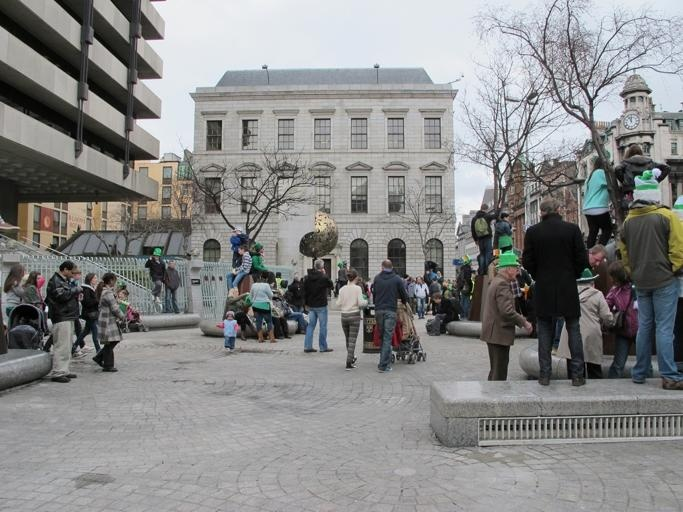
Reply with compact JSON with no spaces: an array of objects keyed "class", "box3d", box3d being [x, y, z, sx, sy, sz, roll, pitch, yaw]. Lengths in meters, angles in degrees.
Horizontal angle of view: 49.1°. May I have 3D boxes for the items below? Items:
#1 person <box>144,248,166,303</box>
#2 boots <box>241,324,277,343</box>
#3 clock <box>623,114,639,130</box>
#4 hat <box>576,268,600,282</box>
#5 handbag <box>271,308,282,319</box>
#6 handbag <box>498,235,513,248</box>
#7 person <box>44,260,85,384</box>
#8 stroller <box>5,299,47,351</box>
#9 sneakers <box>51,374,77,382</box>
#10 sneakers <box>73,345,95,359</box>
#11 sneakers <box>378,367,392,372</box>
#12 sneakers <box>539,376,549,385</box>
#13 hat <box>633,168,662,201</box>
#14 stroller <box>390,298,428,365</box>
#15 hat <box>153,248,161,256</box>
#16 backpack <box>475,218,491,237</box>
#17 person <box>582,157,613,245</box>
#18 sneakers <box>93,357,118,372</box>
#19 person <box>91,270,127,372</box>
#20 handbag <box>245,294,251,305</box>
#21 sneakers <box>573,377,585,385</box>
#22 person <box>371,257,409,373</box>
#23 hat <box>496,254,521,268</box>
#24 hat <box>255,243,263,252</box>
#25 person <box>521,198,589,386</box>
[{"class":"person","box3d":[-6.030,0.639,24.320,0.637,1.919,1.319,0,5,-14]},{"class":"boots","box3d":[-2.281,2.035,20.120,0.697,0.292,0.540,-1,-8,18]},{"class":"clock","box3d":[27.657,-12.810,71.249,0.103,1.400,1.338,-5,-4,-22]},{"class":"hat","box3d":[3.967,0.295,12.064,0.306,0.121,0.269,-4,2,-40]},{"class":"handbag","box3d":[-1.748,1.535,20.362,0.234,0.261,0.188,5,25,-20]},{"class":"handbag","box3d":[4.223,-0.354,19.209,0.305,0.352,0.618,2,5,9]},{"class":"person","box3d":[-5.053,1.173,13.638,0.594,2.179,0.677,-1,5,-21]},{"class":"stroller","box3d":[-6.050,1.358,14.322,0.648,0.949,0.867,3,-18,-22]},{"class":"sneakers","box3d":[-5.079,2.198,13.651,0.440,0.200,0.139,-3,2,-3]},{"class":"sneakers","box3d":[-5.791,2.158,16.961,0.524,0.236,0.173,0,0,-26]},{"class":"sneakers","box3d":[0.862,2.204,14.733,0.292,0.121,0.094,0,-2,-30]},{"class":"sneakers","box3d":[2.916,1.765,10.728,0.161,0.107,0.201,2,5,11]},{"class":"hat","box3d":[4.455,-1.021,10.885,0.407,0.440,0.352,-13,2,6]},{"class":"stroller","box3d":[1.366,1.551,15.779,0.598,1.272,0.857,-2,-3,27]},{"class":"hat","box3d":[-5.846,-0.142,23.812,0.255,0.134,0.363,8,9,-21]},{"class":"backpack","box3d":[4.015,-0.818,21.314,0.443,0.590,0.603,2,5,10]},{"class":"person","box3d":[5.099,-1.040,14.864,0.558,1.830,1.591,2,5,19]},{"class":"sneakers","box3d":[-4.647,2.105,14.701,0.459,0.212,0.158,18,4,2]},{"class":"person","box3d":[-4.542,1.275,14.643,0.594,1.927,0.894,-1,5,-17]},{"class":"handbag","box3d":[-2.442,1.110,19.689,0.126,0.337,0.419,0,5,-12]},{"class":"sneakers","box3d":[3.409,1.767,10.723,0.184,0.098,0.256,3,5,19]},{"class":"person","box3d":[0.947,1.152,14.740,0.616,2.171,0.476,-1,5,-24]},{"class":"hat","box3d":[2.556,0.058,11.360,0.243,0.127,0.245,-3,1,-9]},{"class":"hat","box3d":[-2.354,-0.265,21.222,0.284,0.244,0.216,-7,-3,35]},{"class":"person","box3d":[3.190,0.554,11.104,0.886,2.665,0.834,-3,-13,20]}]
